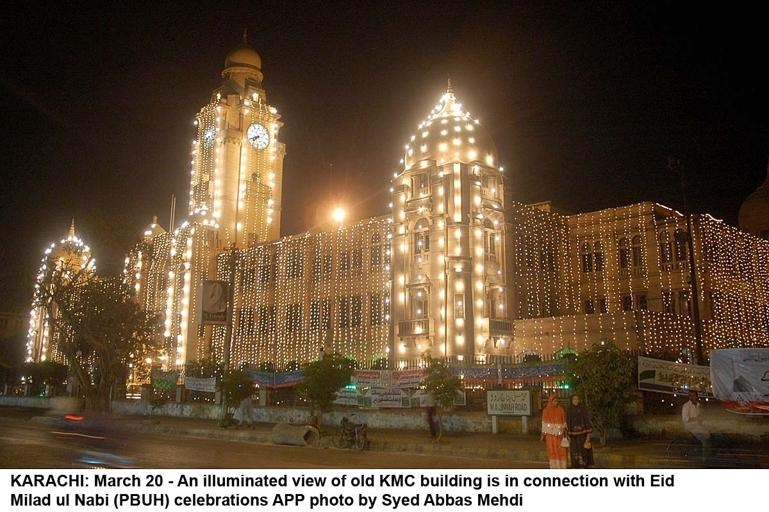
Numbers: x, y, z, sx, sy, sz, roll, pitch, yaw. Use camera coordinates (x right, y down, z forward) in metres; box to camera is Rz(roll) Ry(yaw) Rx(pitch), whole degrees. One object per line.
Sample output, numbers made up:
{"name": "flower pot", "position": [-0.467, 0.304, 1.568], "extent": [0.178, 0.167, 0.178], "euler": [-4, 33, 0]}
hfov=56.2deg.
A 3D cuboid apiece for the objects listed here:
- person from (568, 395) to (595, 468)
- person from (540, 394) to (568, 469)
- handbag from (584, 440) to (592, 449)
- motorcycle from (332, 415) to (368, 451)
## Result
{"name": "person", "position": [7.410, 6.684, 27.612], "extent": [0.842, 2.666, 1.328], "euler": [-13, -21, 39]}
{"name": "person", "position": [6.424, 6.581, 27.264], "extent": [0.905, 2.723, 1.081], "euler": [-3, -16, 14]}
{"name": "handbag", "position": [7.640, 7.069, 27.300], "extent": [0.228, 0.386, 0.251], "euler": [-1, -16, 8]}
{"name": "motorcycle", "position": [-1.827, 9.051, 36.893], "extent": [1.811, 1.036, 0.892], "euler": [8, -23, -42]}
